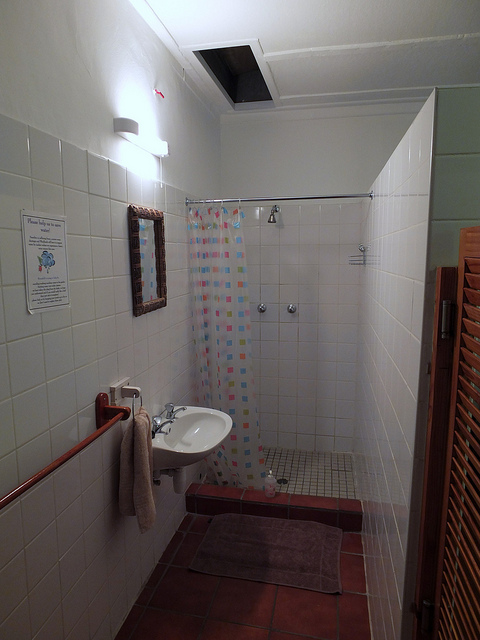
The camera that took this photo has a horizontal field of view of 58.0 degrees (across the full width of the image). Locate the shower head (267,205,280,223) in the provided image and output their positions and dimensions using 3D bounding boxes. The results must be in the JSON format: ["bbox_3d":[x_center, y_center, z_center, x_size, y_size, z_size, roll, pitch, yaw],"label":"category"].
[{"bbox_3d":[0.221,-0.713,2.903,0.058,0.175,0.101,3,11,20],"label":"shower head"}]

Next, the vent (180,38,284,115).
[{"bbox_3d":[0.008,-1.623,2.787,0.432,0.224,1.153,2,9,13],"label":"vent"}]

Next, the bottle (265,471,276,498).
[{"bbox_3d":[0.181,1.016,2.606,0.055,0.153,0.051,0,6,0],"label":"bottle"}]

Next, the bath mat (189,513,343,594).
[{"bbox_3d":[0.159,1.296,2.415,0.832,0.065,0.868,0,-7,13],"label":"bath mat"}]
